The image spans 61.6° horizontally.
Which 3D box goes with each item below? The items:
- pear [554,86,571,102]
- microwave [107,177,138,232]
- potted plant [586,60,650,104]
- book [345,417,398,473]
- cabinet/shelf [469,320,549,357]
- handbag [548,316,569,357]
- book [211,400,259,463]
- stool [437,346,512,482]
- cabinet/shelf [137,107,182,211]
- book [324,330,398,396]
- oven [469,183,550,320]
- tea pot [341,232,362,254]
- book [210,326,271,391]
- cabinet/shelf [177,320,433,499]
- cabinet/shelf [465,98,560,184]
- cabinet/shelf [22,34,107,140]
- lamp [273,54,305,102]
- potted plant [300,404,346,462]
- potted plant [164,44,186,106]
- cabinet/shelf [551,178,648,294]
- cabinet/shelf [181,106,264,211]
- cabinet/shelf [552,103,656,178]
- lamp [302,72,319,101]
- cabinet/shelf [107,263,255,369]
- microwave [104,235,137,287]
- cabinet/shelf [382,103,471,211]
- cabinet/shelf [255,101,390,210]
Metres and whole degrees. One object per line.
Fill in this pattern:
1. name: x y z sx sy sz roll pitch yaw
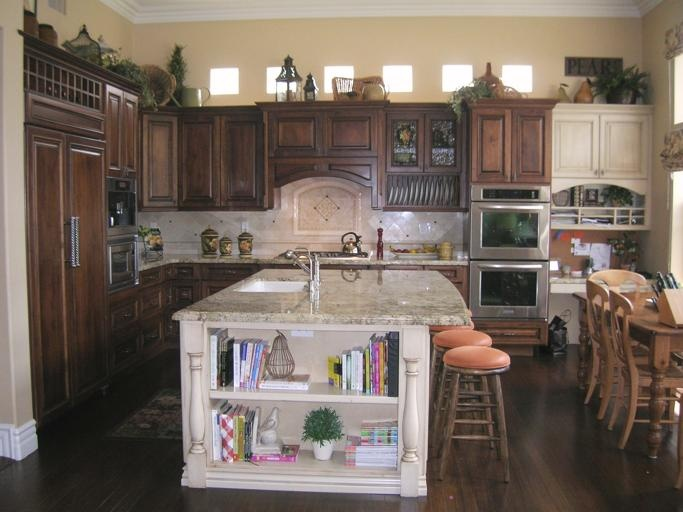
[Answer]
1. pear: 2.707 -1.991 6.985 0.186 0.230 0.273 5 13 20
2. microwave: -2.250 -0.487 5.653 0.205 0.550 0.613 -1 6 7
3. potted plant: 3.324 -2.026 6.877 0.573 0.397 0.515 6 9 9
4. book: 0.239 1.332 4.139 0.319 0.209 0.332 0 1 2
5. cabinet/shelf: 2.012 0.849 6.821 0.851 0.434 0.589 -1 19 26
6. handbag: 2.552 0.933 6.720 0.215 0.427 0.308 -2 3 15
7. book: -0.738 1.231 4.255 0.362 0.466 0.369 3 6 9
8. stool: 1.033 1.065 4.551 0.611 0.908 1.202 3 13 12
9. cabinet/shelf: -2.209 -1.154 6.916 0.440 1.149 0.233 -1 13 -4
10. book: 0.140 0.711 4.174 0.546 0.568 0.388 0 5 6
11. oven: 2.017 -0.012 6.837 0.932 1.700 0.847 0 1 17
12. tea pot: 0.108 -0.154 7.181 0.287 0.303 0.215 2 -1 -12
13. book: -0.714 0.709 4.238 0.368 0.453 0.457 3 3 9
14. cabinet/shelf: -0.264 1.068 4.216 1.627 1.175 0.663 1 -6 0
15. cabinet/shelf: 1.948 -1.241 6.677 0.977 1.018 0.540 1 -6 10
16. cabinet/shelf: -2.423 -1.388 4.964 0.154 0.648 1.086 2 5 9
17. lamp: -0.623 -2.112 6.863 0.331 0.517 0.221 -5 13 -20
18. potted plant: -0.142 1.271 4.118 0.275 0.347 0.291 -8 -10 20
19. potted plant: -2.046 -2.246 7.125 0.239 0.718 0.446 -3 13 -14
20. cabinet/shelf: 3.066 -0.276 6.765 1.310 1.336 0.394 0 0 3
21. cabinet/shelf: -1.428 -1.240 6.947 1.155 1.368 0.507 0 2 1
22. cabinet/shelf: 3.094 -1.382 6.729 0.816 0.676 0.322 1 2 4
23. lamp: -0.386 -2.036 6.900 0.136 0.337 0.316 -1 13 -3
24. cabinet/shelf: -1.910 0.570 6.261 1.334 0.739 0.986 -2 5 -20
25. microwave: -2.197 0.047 5.655 0.266 0.476 0.513 0 0 6
26. cabinet/shelf: 1.021 -1.223 6.832 1.240 1.594 0.455 0 3 4
27. cabinet/shelf: -0.234 -1.216 7.069 1.515 1.329 0.547 -1 18 -2
